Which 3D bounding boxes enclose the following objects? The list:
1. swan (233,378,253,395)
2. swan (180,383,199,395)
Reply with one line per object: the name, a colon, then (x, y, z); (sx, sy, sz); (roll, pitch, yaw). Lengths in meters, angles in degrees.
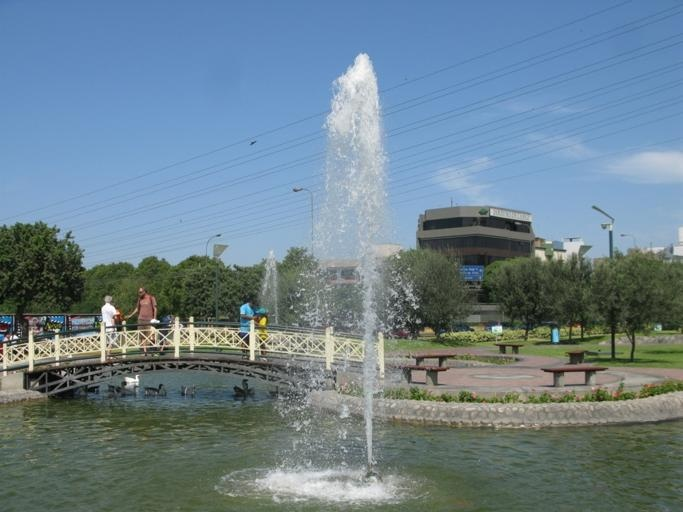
swan: (-4.635, 6.180, 37.585); (0.903, 0.697, 1.411); (-2, 4, -8)
swan: (-7.268, 6.381, 37.605); (0.724, 0.356, 0.947); (1, -4, -13)
